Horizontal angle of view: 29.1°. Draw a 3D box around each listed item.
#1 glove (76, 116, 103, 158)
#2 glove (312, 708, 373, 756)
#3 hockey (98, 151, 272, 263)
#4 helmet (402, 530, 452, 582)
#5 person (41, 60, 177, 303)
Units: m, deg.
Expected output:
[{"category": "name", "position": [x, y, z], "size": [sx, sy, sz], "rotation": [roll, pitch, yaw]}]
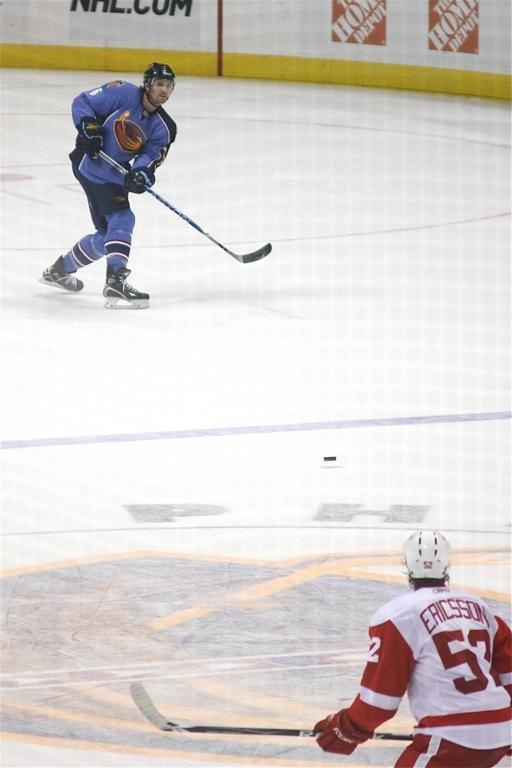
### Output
[{"category": "glove", "position": [-0.734, -1.089, 4.350], "size": [0.159, 0.146, 0.065], "rotation": [-1, -2, -43]}, {"category": "glove", "position": [0.180, 0.779, 2.218], "size": [0.167, 0.114, 0.064], "rotation": [-9, -46, 30]}, {"category": "hockey", "position": [-0.263, -0.752, 4.700], "size": [1.007, 0.065, 0.331], "rotation": [34, -17, 3]}, {"category": "helmet", "position": [0.371, 0.374, 2.154], "size": [0.089, 0.100, 0.110], "rotation": [0, 10, 7]}, {"category": "person", "position": [-0.648, -0.907, 4.490], "size": [0.488, 1.073, 0.455], "rotation": [8, -8, -12]}]
